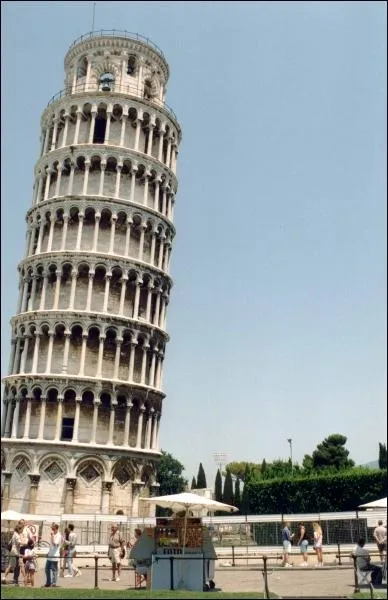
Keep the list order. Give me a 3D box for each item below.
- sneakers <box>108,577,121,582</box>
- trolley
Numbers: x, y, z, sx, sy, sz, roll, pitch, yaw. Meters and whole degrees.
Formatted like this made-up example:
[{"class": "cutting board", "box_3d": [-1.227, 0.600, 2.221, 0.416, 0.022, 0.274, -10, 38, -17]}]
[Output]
[{"class": "sneakers", "box_3d": [-2.657, 9.405, 21.685, 0.306, 0.123, 0.197, 23, -30, -9]}, {"class": "trolley", "box_3d": [-0.343, 7.571, 18.932, 1.847, 2.177, 1.907, -9, -32, 13]}]
